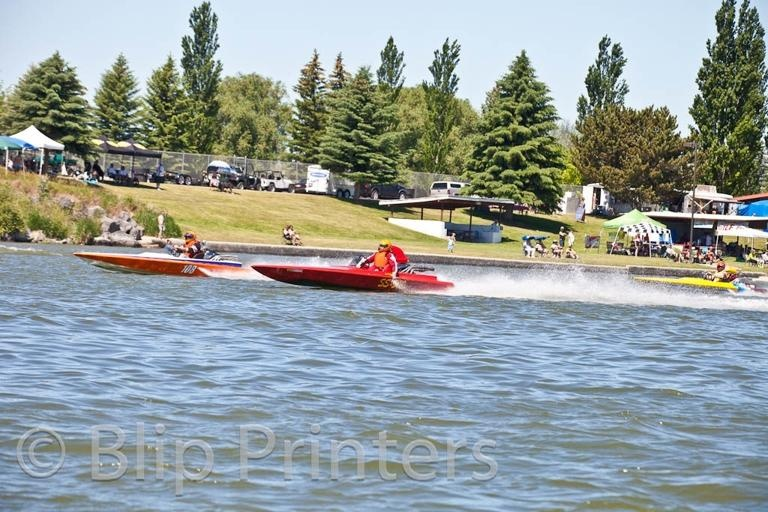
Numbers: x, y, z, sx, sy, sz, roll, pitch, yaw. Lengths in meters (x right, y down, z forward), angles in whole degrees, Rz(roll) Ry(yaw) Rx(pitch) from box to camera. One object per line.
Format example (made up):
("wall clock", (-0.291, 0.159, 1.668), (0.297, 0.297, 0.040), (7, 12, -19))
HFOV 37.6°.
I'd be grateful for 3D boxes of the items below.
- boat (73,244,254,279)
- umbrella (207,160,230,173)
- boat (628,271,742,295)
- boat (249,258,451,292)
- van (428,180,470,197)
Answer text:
("boat", (-8.544, 0.332, 43.385), (6.553, 1.216, 2.096), (6, -7, -5))
("umbrella", (-12.073, -6.494, 81.594), (1.598, 0.785, 2.322), (2, 4, -5))
("boat", (13.057, 1.042, 47.747), (1.058, 0.492, 4.153), (2, 4, -45))
("boat", (-1.214, 0.765, 41.767), (6.615, 1.005, 1.310), (5, 3, 2))
("van", (4.865, -5.194, 86.203), (3.062, 1.480, 1.772), (-6, 9, -31))
